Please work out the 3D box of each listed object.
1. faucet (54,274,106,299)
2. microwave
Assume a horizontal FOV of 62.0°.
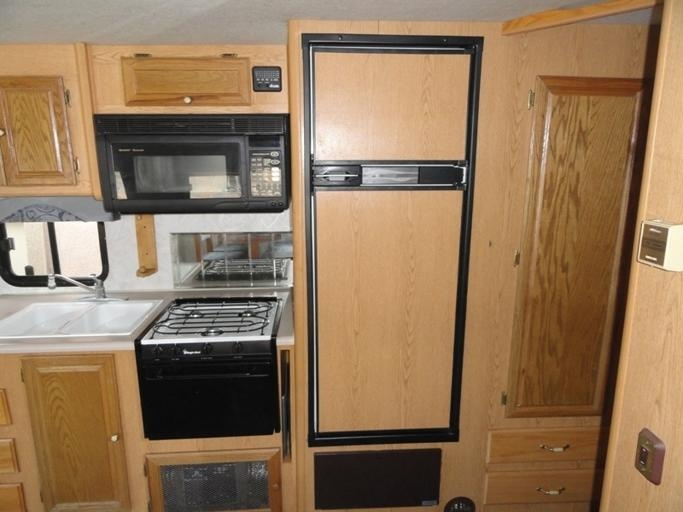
[{"bbox_3d":[-1.565,0.164,3.383,0.297,0.166,0.279,-5,12,-20],"label":"faucet"},{"bbox_3d":[-0.782,-0.466,2.927,1.056,0.442,0.528,0,16,-4],"label":"microwave"}]
